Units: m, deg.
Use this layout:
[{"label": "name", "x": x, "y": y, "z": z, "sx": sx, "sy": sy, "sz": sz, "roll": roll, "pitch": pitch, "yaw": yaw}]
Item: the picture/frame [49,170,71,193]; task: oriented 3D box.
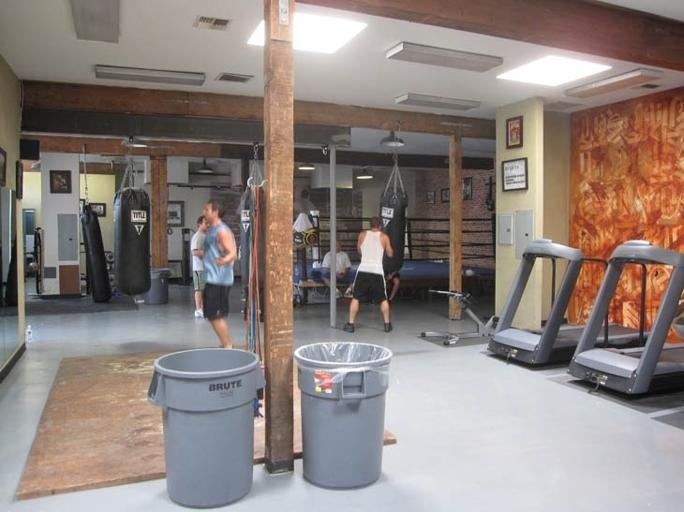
[{"label": "picture/frame", "x": -6.399, "y": -1.705, "z": 11.467, "sx": 0.517, "sy": 0.609, "sz": 0.043, "roll": 0, "pitch": 9, "yaw": -22}]

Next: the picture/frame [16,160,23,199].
[{"label": "picture/frame", "x": -4.161, "y": -0.982, "z": 6.528, "sx": 0.033, "sy": 0.501, "sz": 0.297, "roll": -2, "pitch": 7, "yaw": -22}]

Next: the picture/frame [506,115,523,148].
[{"label": "picture/frame", "x": 2.694, "y": -1.925, "z": 7.933, "sx": 0.053, "sy": 0.478, "sz": 0.347, "roll": -2, "pitch": 7, "yaw": -21}]

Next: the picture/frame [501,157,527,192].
[{"label": "picture/frame", "x": 2.700, "y": -1.272, "z": 7.907, "sx": 0.044, "sy": 0.628, "sz": 0.583, "roll": -3, "pitch": 1, "yaw": -28}]

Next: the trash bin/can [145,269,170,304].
[{"label": "trash bin/can", "x": -3.659, "y": 0.605, "z": 9.990, "sx": 0.677, "sy": 0.717, "sz": 0.722, "roll": 2, "pitch": 0, "yaw": -28}]

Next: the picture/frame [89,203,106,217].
[{"label": "picture/frame", "x": -7.092, "y": -1.338, "z": 14.736, "sx": 0.375, "sy": 0.391, "sz": 0.375, "roll": -1, "pitch": 6, "yaw": -15}]

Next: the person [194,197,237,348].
[{"label": "person", "x": -1.426, "y": 0.291, "z": 5.958, "sx": 0.480, "sy": 1.826, "sz": 0.918, "roll": 1, "pitch": 5, "yaw": -21}]

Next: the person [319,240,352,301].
[{"label": "person", "x": -0.109, "y": 0.263, "z": 10.199, "sx": 0.462, "sy": 1.116, "sz": 0.535, "roll": 2, "pitch": 4, "yaw": -24}]

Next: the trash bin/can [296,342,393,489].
[{"label": "trash bin/can", "x": 0.010, "y": 1.121, "z": 3.846, "sx": 0.757, "sy": 0.952, "sz": 0.757, "roll": 0, "pitch": 0, "yaw": -34}]

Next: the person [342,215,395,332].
[{"label": "person", "x": 0.401, "y": 0.274, "z": 7.918, "sx": 0.612, "sy": 1.718, "sz": 0.824, "roll": 0, "pitch": 0, "yaw": -17}]
